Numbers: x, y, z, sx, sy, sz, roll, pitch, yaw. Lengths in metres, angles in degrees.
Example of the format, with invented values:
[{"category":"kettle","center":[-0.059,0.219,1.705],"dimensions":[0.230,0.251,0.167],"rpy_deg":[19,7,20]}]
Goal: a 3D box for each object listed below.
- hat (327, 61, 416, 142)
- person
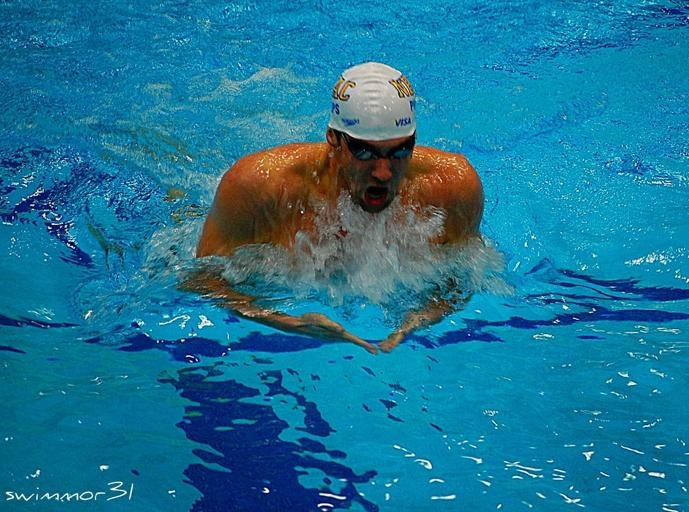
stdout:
[{"category":"hat","center":[0.132,-0.683,3.440],"dimensions":[0.399,0.393,0.230],"rpy_deg":[-4,107,-20]},{"category":"person","center":[0.071,-0.259,3.671],"dimensions":[1.662,1.060,0.772],"rpy_deg":[-4,28,-17]}]
